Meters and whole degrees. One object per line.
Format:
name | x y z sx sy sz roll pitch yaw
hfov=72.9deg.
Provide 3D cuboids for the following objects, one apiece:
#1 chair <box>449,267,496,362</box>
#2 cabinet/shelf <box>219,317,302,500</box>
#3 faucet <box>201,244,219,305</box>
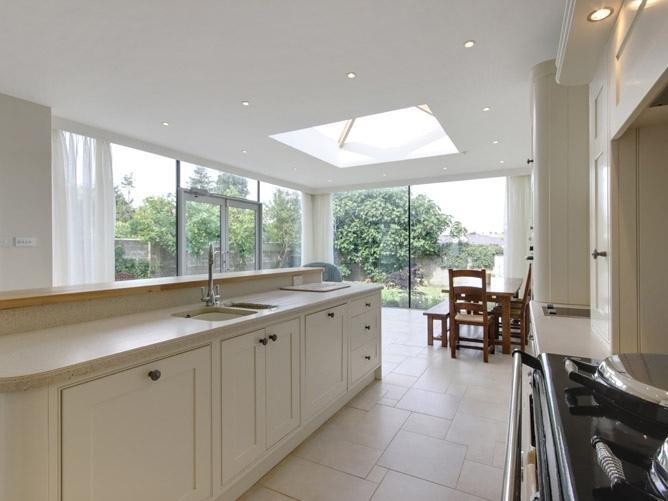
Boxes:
chair | 1.474 0.680 4.881 0.444 0.952 0.488 -1 1 34
cabinet/shelf | -0.532 0.818 2.679 0.396 0.817 0.835 1 2 27
faucet | -0.810 0.154 2.952 0.102 0.395 0.323 -1 7 -14
